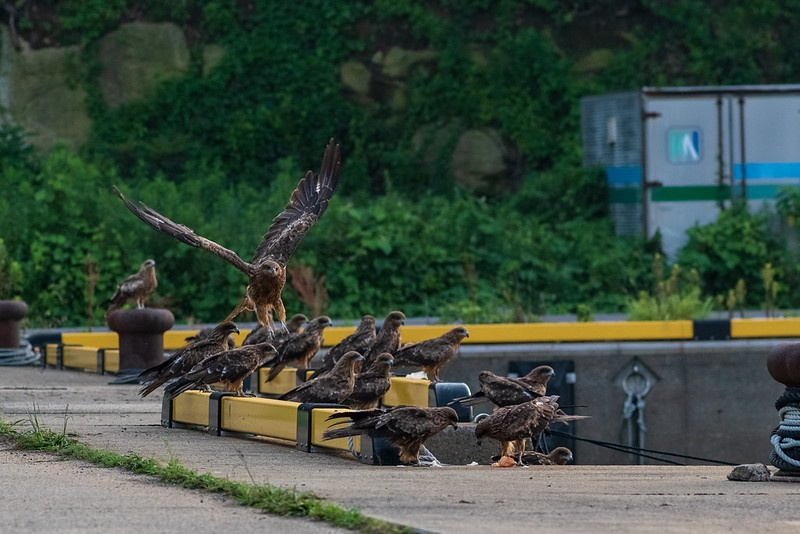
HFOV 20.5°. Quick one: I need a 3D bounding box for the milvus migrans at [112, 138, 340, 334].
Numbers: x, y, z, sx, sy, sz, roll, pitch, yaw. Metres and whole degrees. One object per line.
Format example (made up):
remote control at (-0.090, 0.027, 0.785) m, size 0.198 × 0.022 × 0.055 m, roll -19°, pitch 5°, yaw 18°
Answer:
milvus migrans at (-3.706, -0.565, 53.428) m, size 6.809 × 4.643 × 3.116 m, roll -10°, pitch 11°, yaw -44°
